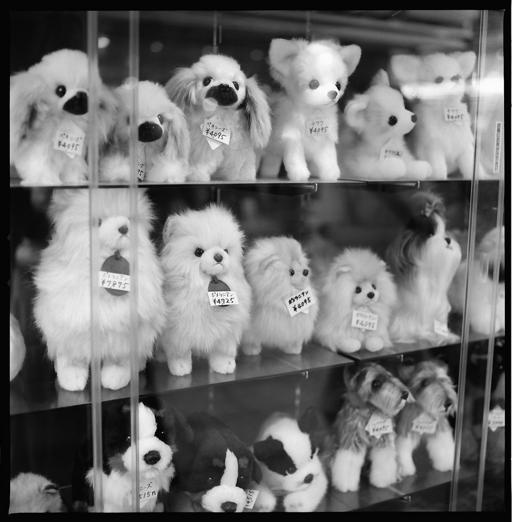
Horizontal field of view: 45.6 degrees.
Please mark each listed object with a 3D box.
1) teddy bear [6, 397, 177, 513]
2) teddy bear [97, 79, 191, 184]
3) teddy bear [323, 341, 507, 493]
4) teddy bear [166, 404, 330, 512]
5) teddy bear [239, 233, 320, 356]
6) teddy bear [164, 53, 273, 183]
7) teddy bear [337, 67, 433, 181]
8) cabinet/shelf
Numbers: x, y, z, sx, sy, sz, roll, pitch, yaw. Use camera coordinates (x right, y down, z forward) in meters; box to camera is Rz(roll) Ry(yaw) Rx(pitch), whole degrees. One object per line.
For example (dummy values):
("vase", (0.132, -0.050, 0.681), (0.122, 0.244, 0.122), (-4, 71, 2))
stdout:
("teddy bear", (-0.428, 0.514, 1.655), (0.397, 0.199, 0.267), (-10, -18, 40))
("teddy bear", (-0.313, -0.345, 1.653), (0.191, 0.277, 0.249), (23, 21, 36))
("teddy bear", (0.469, 0.520, 2.070), (0.328, 0.440, 0.561), (3, -7, -31))
("teddy bear", (-0.032, 0.583, 1.777), (0.427, 0.211, 0.273), (4, 1, 43))
("teddy bear", (0.053, 0.116, 1.993), (0.240, 0.400, 0.276), (22, 23, 37))
("teddy bear", (-0.103, -0.417, 1.802), (0.306, 0.376, 0.394), (-3, 14, -19))
("teddy bear", (0.405, -0.498, 2.148), (0.351, 0.409, 0.318), (12, 24, 30))
("cabinet/shelf", (-0.014, 0.247, 1.800), (0.988, 0.654, 0.291), (-4, 15, -16))
